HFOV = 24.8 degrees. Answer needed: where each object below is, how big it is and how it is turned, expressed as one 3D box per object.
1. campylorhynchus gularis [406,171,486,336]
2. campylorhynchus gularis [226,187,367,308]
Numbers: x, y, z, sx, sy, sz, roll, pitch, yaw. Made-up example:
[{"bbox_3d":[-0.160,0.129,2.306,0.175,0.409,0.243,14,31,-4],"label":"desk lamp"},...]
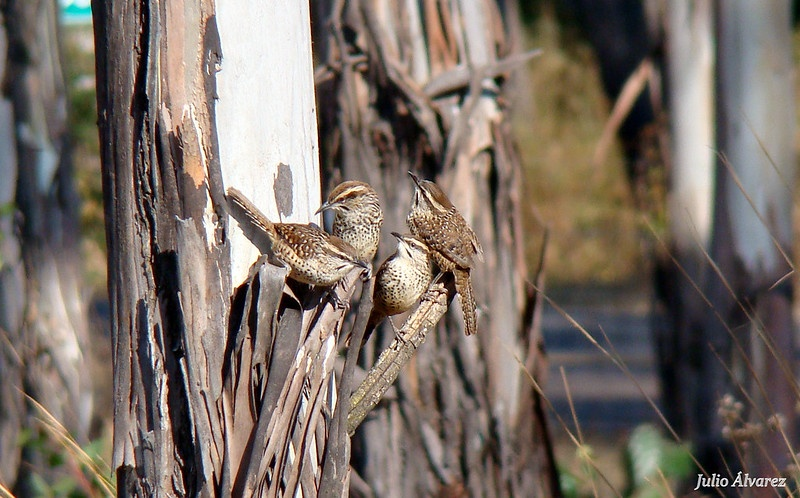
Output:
[{"bbox_3d":[0.387,0.095,16.269,0.490,1.276,0.354,-29,2,42],"label":"campylorhynchus gularis"},{"bbox_3d":[-0.921,0.018,15.518,0.364,0.900,0.295,-39,10,16],"label":"campylorhynchus gularis"}]
